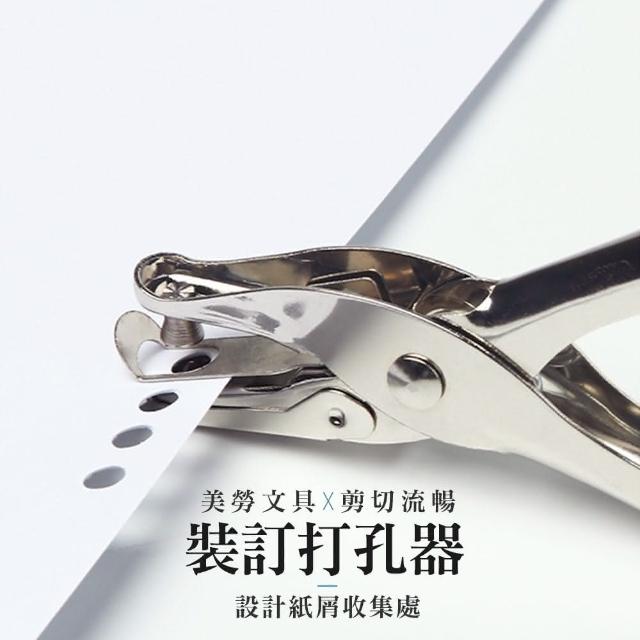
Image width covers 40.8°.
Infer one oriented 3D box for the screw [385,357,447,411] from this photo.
[{"bbox_3d":[0.081,0.047,0.704,0.060,0.012,0.041,0,-59,28],"label":"screw"}]
